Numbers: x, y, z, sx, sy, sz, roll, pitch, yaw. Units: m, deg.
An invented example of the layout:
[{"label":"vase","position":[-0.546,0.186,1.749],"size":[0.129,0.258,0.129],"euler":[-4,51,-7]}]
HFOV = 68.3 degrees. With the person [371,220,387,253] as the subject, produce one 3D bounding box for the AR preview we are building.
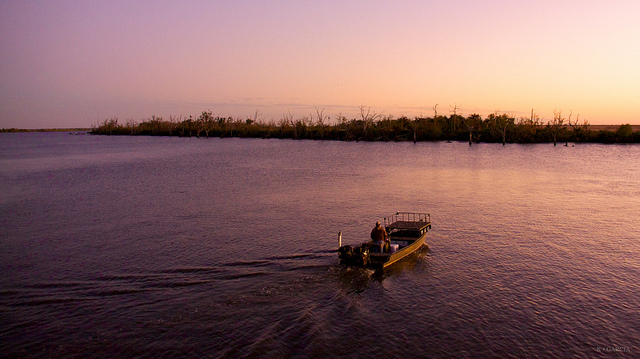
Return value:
[{"label":"person","position":[6.417,6.204,52.025],"size":[1.526,3.337,0.913],"euler":[-1,7,5]}]
